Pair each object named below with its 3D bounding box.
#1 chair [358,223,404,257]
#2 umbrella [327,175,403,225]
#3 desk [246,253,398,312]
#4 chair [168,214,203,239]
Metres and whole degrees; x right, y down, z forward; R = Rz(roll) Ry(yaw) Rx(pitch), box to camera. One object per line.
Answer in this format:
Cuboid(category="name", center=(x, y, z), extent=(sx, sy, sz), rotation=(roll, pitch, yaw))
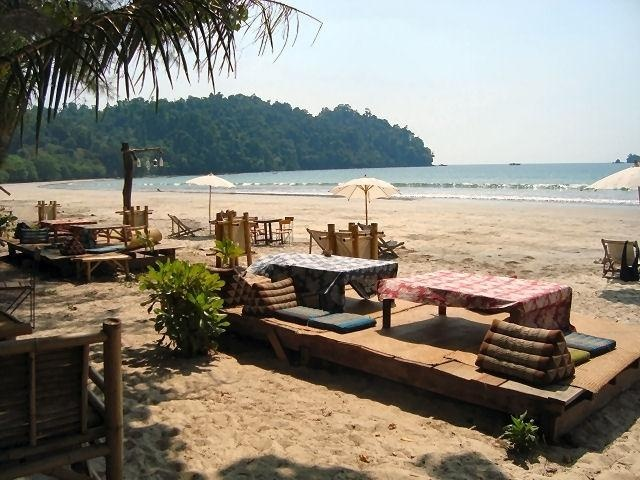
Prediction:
Cuboid(category="chair", center=(1.798, 0.002, 13.481), extent=(1.388, 1.057, 0.957), rotation=(3, 13, 9))
Cuboid(category="umbrella", center=(1.104, -0.990, 12.866), extent=(1.368, 1.420, 1.878), rotation=(0, 11, -9))
Cuboid(category="desk", center=(-0.091, 0.474, 7.238), extent=(1.617, 0.363, 1.061), rotation=(5, 11, 39))
Cuboid(category="chair", center=(-4.733, -0.416, 16.833), extent=(1.617, 0.996, 1.021), rotation=(-1, 7, -15))
